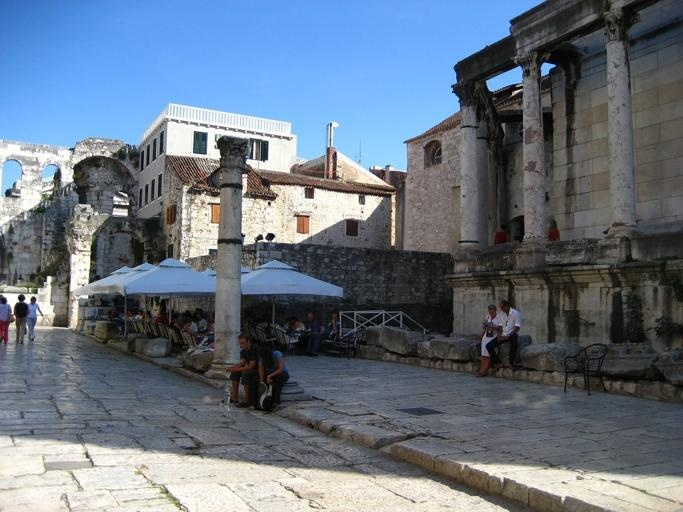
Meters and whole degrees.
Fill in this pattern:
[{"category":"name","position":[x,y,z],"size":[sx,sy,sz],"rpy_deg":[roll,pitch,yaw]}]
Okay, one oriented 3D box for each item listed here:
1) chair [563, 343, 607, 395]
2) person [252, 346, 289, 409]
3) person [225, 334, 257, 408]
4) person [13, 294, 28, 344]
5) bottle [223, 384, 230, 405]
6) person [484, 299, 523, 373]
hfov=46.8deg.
[{"category":"chair","position":[4.643,2.086,14.959],"size":[0.860,0.966,0.833],"rpy_deg":[-4,-6,36]},{"category":"person","position":[-1.213,2.093,13.633],"size":[0.515,1.085,0.325],"rpy_deg":[2,-7,-6]},{"category":"person","position":[-1.722,1.984,13.832],"size":[0.650,1.248,0.306],"rpy_deg":[-5,-9,39]},{"category":"person","position":[-9.589,1.858,23.586],"size":[0.374,1.474,1.891],"rpy_deg":[4,-7,-22]},{"category":"bottle","position":[-2.022,2.489,13.895],"size":[0.120,0.153,0.388],"rpy_deg":[-4,-43,-6]},{"category":"person","position":[3.385,1.605,16.431],"size":[0.600,1.405,0.758],"rpy_deg":[2,-7,-11]}]
